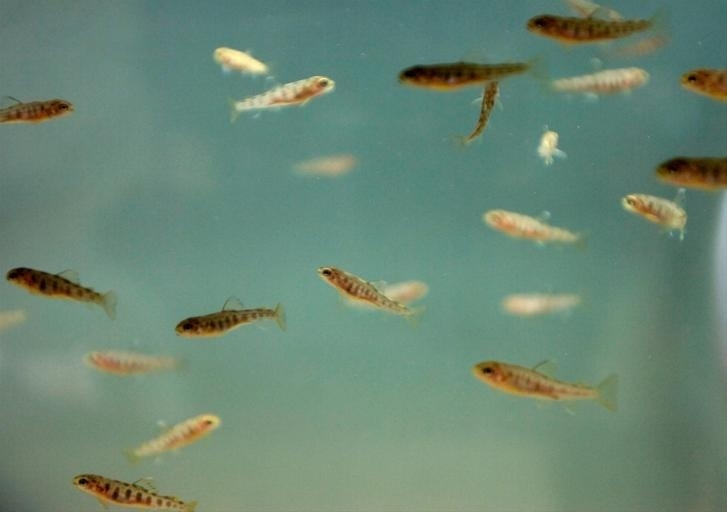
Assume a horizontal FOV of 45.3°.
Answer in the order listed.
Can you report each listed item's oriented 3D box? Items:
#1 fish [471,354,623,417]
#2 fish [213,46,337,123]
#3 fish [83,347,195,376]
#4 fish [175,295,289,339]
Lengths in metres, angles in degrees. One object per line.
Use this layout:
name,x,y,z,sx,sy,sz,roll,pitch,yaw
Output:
fish,0.840,0.591,4.012,0.685,0.228,0.147,1,0,-17
fish,-0.451,-0.823,4.113,0.418,0.192,0.289,9,17,24
fish,-1.092,0.503,4.146,0.467,0.103,0.018,2,0,3
fish,-0.617,0.290,4.083,0.386,0.170,0.092,-9,14,-6
